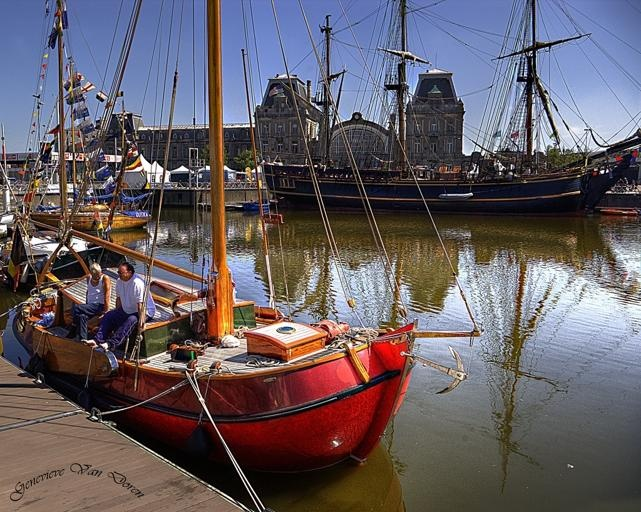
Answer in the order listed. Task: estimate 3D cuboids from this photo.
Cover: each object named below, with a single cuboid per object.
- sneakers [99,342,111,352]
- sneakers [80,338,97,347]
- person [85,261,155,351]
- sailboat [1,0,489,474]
[{"bbox_3d":[-2.898,1.230,6.980,0.118,0.055,0.154,-9,10,-21],"label":"sneakers"},{"bbox_3d":[-3.168,1.181,7.142,0.343,0.125,0.105,1,8,29],"label":"sneakers"},{"bbox_3d":[-2.717,0.699,7.158,0.707,1.093,1.013,2,9,23],"label":"person"},{"bbox_3d":[-1.661,-0.327,6.685,6.296,5.850,2.484,7,15,38],"label":"sailboat"}]
